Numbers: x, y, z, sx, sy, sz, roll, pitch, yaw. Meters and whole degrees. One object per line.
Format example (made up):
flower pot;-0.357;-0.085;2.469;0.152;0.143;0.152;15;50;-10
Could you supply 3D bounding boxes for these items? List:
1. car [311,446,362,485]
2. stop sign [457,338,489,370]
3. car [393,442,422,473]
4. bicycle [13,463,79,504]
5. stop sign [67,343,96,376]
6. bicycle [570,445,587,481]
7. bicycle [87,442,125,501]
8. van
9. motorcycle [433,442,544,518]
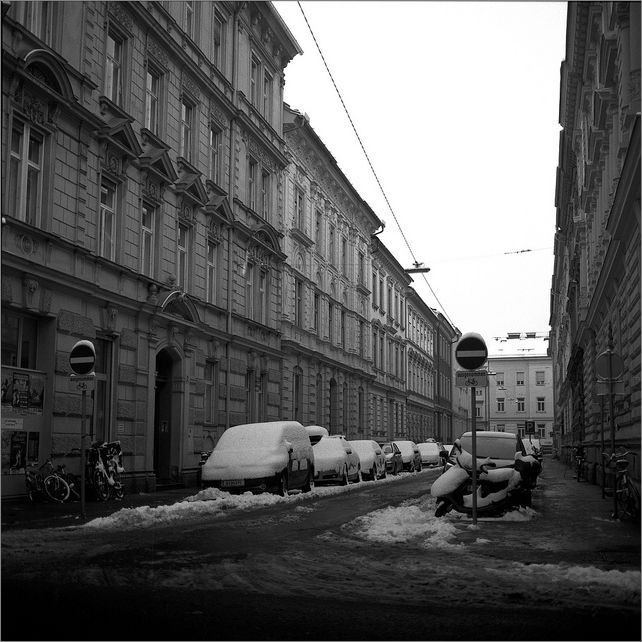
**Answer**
car;0.460;4.723;24.486;0.865;1.568;3.020;-4;-13;19
stop sign;2.405;0.516;11.769;0.448;0.826;0.468;0;1;18
car;4.749;7.315;39.342;1.029;0.945;2.370;-4;-19;9
bicycle;-5.853;3.526;15.780;0.492;0.692;0.973;-9;-23;14
stop sign;-4.323;0.703;13.180;0.480;0.965;0.093;-2;-7;3
bicycle;10.806;5.914;30.498;0.427;1.488;2.647;-3;-12;19
bicycle;-5.021;3.527;17.128;0.555;1.358;1.403;-2;-11;8
van;-1.425;3.381;18.119;1.714;1.900;3.385;-6;-13;28
motorcycle;2.811;2.685;12.469;1.767;1.431;1.005;-8;17;9
